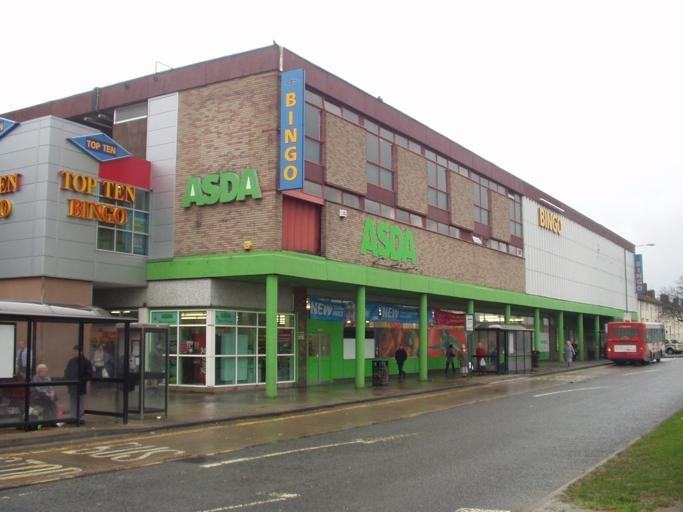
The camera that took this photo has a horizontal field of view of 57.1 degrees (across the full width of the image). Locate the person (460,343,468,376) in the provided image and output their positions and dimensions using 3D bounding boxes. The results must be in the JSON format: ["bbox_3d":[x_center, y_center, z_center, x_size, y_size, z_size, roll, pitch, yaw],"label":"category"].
[{"bbox_3d":[6.831,5.882,35.135,0.433,1.696,1.134,-4,-13,10],"label":"person"}]

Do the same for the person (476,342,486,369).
[{"bbox_3d":[8.301,5.995,37.453,0.560,1.724,1.549,-4,-14,12],"label":"person"}]

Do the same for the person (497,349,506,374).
[{"bbox_3d":[9.581,6.333,37.459,0.413,1.362,0.548,-11,-16,37],"label":"person"}]

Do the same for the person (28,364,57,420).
[{"bbox_3d":[-7.711,3.554,16.296,0.613,1.399,0.286,7,-15,-34],"label":"person"}]

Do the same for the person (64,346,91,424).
[{"bbox_3d":[-7.206,3.480,17.134,0.627,2.118,0.853,3,-13,-20],"label":"person"}]

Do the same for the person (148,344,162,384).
[{"bbox_3d":[-5.456,3.172,18.522,0.132,1.122,0.556,-12,-16,40],"label":"person"}]

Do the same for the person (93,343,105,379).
[{"bbox_3d":[-6.874,2.998,17.918,0.409,0.959,0.220,-2,-12,0],"label":"person"}]

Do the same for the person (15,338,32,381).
[{"bbox_3d":[-8.121,2.815,15.960,0.387,1.241,0.340,2,-3,-23],"label":"person"}]
